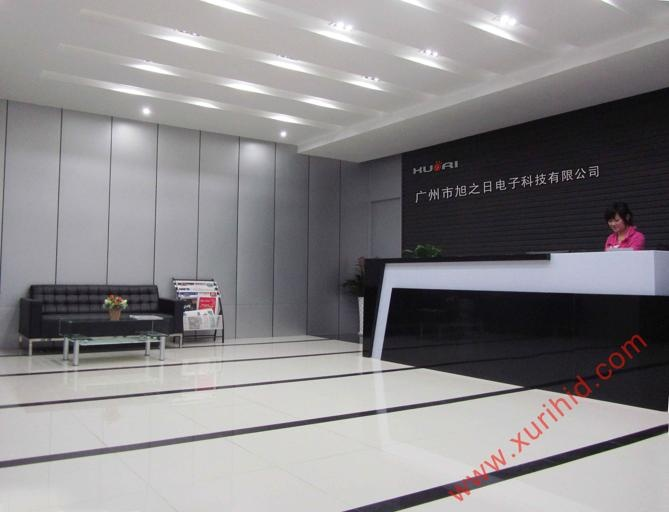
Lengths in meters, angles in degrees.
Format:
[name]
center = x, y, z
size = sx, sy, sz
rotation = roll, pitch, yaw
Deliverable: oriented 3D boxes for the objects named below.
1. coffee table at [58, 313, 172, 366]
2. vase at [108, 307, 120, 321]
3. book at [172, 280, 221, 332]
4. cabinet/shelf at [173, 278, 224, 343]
[coffee table]
center = -3.232, 1.203, 6.639
size = 1.430, 0.576, 1.431
rotation = 2, -4, -27
[vase]
center = -3.202, 0.847, 6.554
size = 0.202, 0.219, 0.201
rotation = 1, -1, -37
[book]
center = -2.536, 0.908, 8.079
size = 0.874, 0.990, 0.531
rotation = 1, -12, -31
[cabinet/shelf]
center = -2.589, 0.993, 8.293
size = 0.865, 1.059, 0.558
rotation = 6, -15, -44
